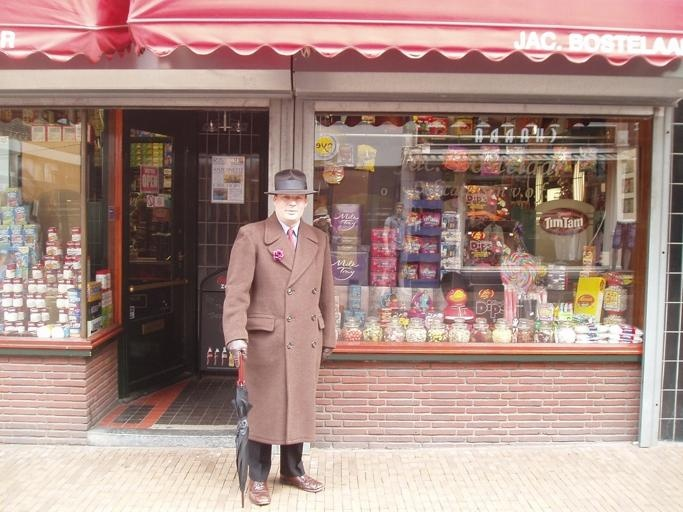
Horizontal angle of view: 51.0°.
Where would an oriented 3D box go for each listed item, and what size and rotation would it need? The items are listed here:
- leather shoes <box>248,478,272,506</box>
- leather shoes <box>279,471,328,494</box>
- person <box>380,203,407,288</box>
[{"bbox_3d":[-0.678,1.958,5.913,0.097,0.120,0.270,1,-4,-15],"label":"leather shoes"},{"bbox_3d":[-0.325,1.911,6.138,0.383,0.144,0.144,6,1,14],"label":"leather shoes"},{"bbox_3d":[0.532,-0.127,7.157,0.210,0.822,0.093,-3,6,-30],"label":"person"}]
